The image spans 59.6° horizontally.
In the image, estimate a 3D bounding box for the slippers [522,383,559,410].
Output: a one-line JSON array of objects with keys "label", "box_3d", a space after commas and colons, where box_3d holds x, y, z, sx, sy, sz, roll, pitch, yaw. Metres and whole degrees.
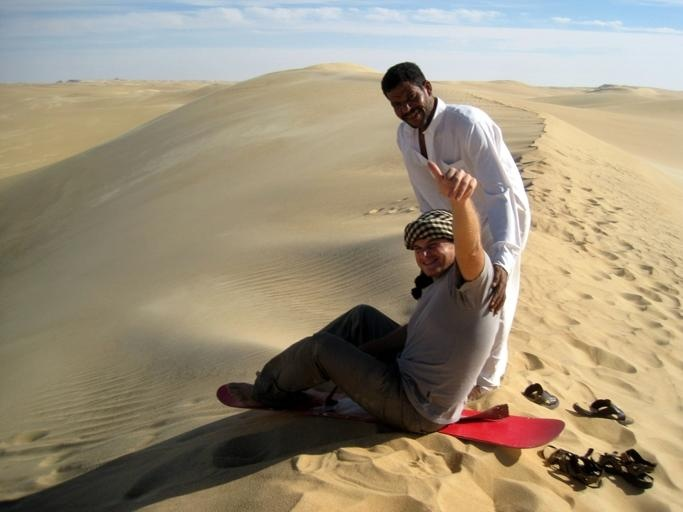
[{"label": "slippers", "box_3d": [1.920, 1.353, 5.741, 0.231, 0.095, 0.292, -9, 18, -42]}]

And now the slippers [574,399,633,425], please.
[{"label": "slippers", "box_3d": [2.482, 1.467, 5.669, 0.475, 0.122, 0.232, 5, 16, 13]}]

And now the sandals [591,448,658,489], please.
[{"label": "sandals", "box_3d": [2.287, 1.716, 4.898, 0.275, 0.158, 0.470, -5, 11, -33]}]

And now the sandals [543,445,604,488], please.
[{"label": "sandals", "box_3d": [1.839, 1.680, 4.727, 0.458, 0.168, 0.235, 8, 42, 32]}]

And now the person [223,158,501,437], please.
[{"label": "person", "box_3d": [0.371, 0.425, 4.601, 1.594, 2.487, 0.666, 14, 35, 13]}]
